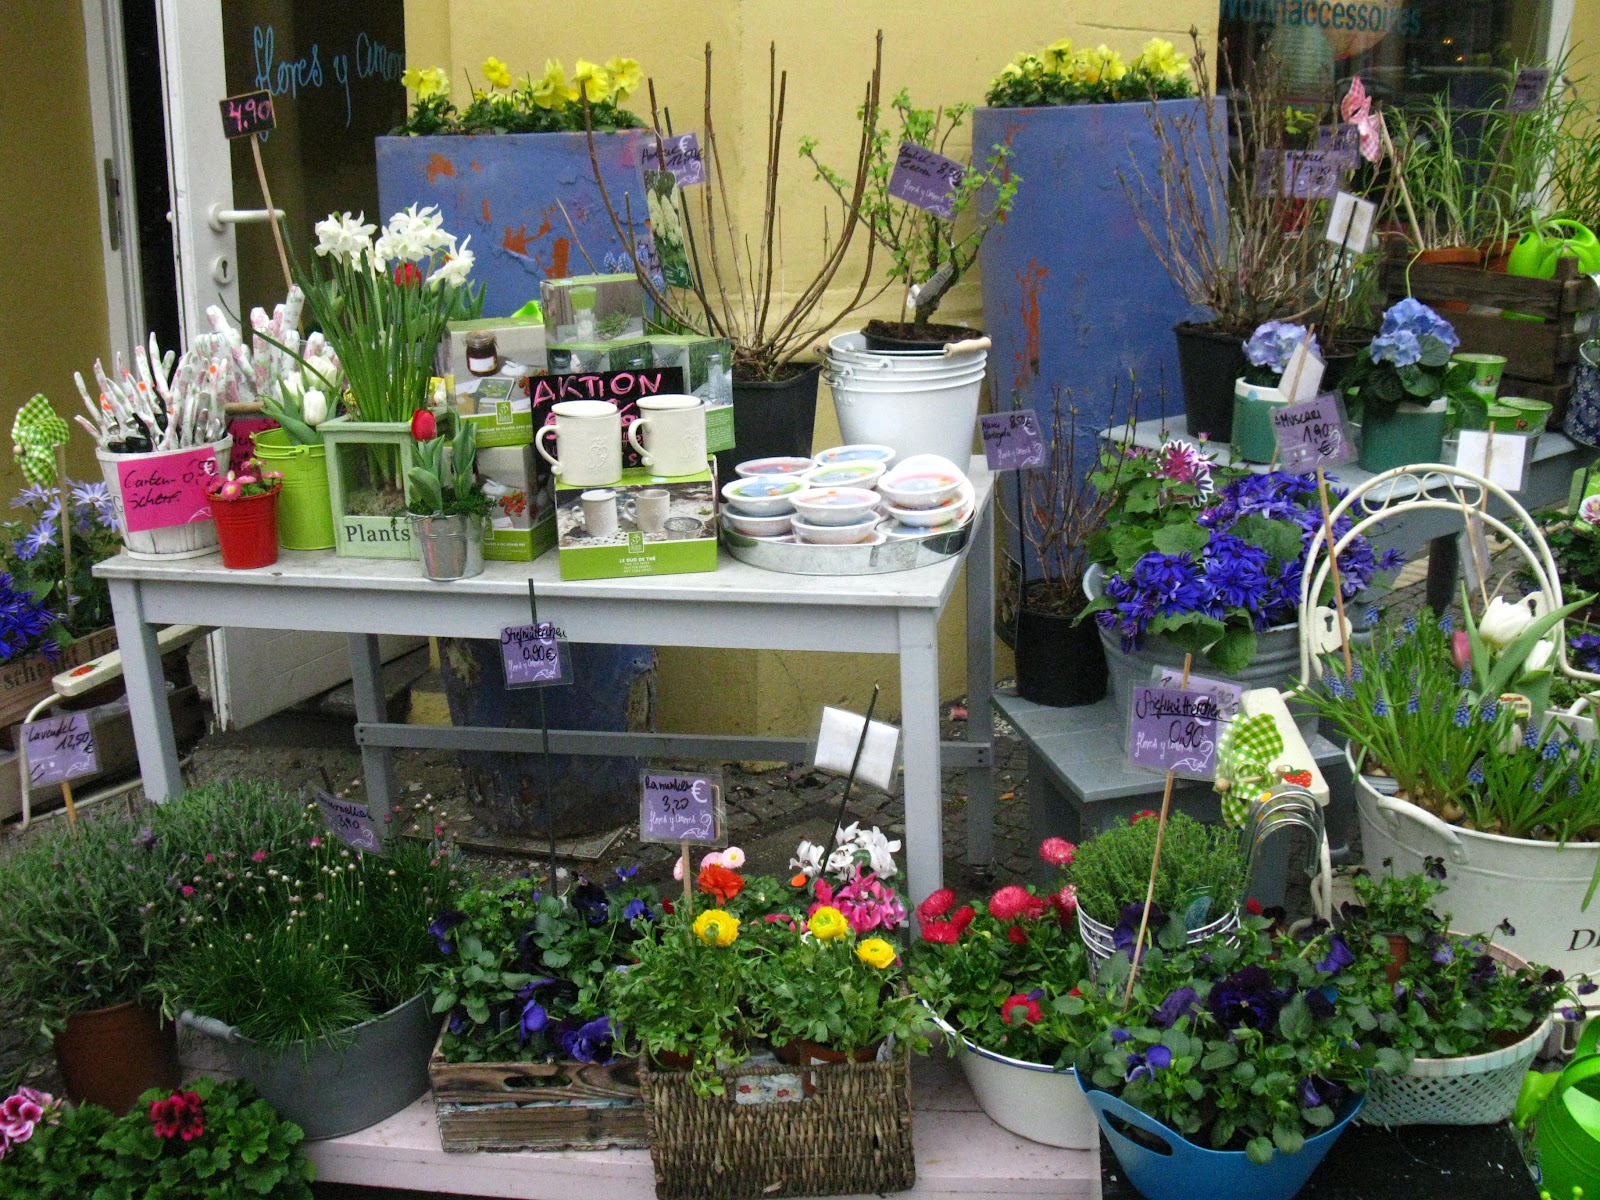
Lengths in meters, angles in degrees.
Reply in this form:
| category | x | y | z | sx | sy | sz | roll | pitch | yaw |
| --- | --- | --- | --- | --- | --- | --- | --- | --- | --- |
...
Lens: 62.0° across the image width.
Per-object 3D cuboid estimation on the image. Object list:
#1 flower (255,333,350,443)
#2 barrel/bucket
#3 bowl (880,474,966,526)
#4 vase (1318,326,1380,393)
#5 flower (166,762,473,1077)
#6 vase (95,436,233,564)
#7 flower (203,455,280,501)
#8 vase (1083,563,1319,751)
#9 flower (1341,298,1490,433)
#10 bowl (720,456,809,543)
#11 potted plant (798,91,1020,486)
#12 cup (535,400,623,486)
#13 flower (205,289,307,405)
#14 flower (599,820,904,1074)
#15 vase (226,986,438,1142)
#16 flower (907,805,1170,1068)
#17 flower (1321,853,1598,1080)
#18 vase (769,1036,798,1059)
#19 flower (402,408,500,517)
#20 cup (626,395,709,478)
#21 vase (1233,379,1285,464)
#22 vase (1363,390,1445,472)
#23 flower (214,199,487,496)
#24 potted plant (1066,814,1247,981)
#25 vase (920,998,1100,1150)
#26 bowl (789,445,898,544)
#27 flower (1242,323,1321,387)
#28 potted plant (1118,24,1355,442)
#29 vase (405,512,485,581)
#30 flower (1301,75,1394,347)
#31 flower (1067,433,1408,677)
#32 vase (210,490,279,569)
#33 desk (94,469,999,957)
| category | x | y | z | sx | sy | sz | roll | pitch | yaw |
| --- | --- | --- | --- | --- | --- | --- | --- | --- | --- |
| flower | -1.179 | -0.501 | 3.156 | 0.239 | 0.295 | 0.253 | -10 | 12 | -26 |
| barrel/bucket | 0.261 | -0.492 | 3.338 | 0.306 | 0.292 | 0.359 | -3 | 8 | -16 |
| bowl | 0.291 | -0.229 | 3.026 | 0.124 | 0.048 | 0.128 | -1 | 25 | 1 |
| vase | 1.722 | -0.755 | 4.206 | 0.214 | 0.188 | 0.244 | 6 | 29 | 15 |
| flower | -1.107 | 0.645 | 2.810 | 0.503 | 0.223 | 0.489 | 24 | 33 | 22 |
| vase | -1.484 | -0.239 | 3.134 | 0.296 | 0.251 | 0.291 | 0 | 8 | 30 |
| flower | -1.270 | -0.273 | 3.038 | 0.115 | 0.087 | 0.122 | -2 | 5 | -14 |
| vase | 0.990 | 0.098 | 3.333 | 0.470 | 0.336 | 0.512 | 0 | 6 | 4 |
| flower | 1.837 | -0.683 | 3.985 | 0.397 | 0.334 | 0.393 | 0 | 3 | 37 |
| bowl | -0.064 | -0.237 | 3.043 | 0.192 | 0.080 | 0.196 | -8 | 30 | 5 |
| potted plant | 0.301 | -0.812 | 3.650 | 0.523 | 0.972 | 0.432 | 1 | 13 | 0 |
| cup | -0.496 | -0.346 | 2.937 | 0.180 | 0.179 | 0.117 | -24 | 39 | -34 |
| flower | -1.359 | -0.572 | 3.253 | 0.184 | 0.204 | 0.157 | 1 | -9 | -21 |
| flower | -0.079 | 0.694 | 2.668 | 0.623 | 0.325 | 0.504 | -3 | 16 | -1 |
| vase | -0.961 | 0.880 | 2.709 | 0.308 | 0.168 | 0.326 | 4 | 15 | 25 |
| flower | 0.414 | 0.726 | 2.692 | 0.434 | 0.234 | 0.460 | 4 | 39 | 17 |
| flower | 1.202 | 0.688 | 2.469 | 0.425 | 0.170 | 0.342 | 3 | 16 | 19 |
| vase | -0.032 | 0.855 | 2.569 | 0.049 | 0.040 | 0.050 | -1 | 5 | -31 |
| flower | -0.808 | -0.305 | 2.968 | 0.205 | 0.246 | 0.181 | 10 | 20 | 39 |
| cup | -0.317 | -0.357 | 2.955 | 0.126 | 0.159 | 0.203 | 12 | 23 | 35 |
| vase | 1.372 | -0.548 | 4.041 | 0.174 | 0.205 | 0.170 | 0 | 14 | -5 |
| vase | 1.775 | -0.502 | 3.940 | 0.213 | 0.223 | 0.214 | 2 | 7 | 15 |
| flower | -1.103 | -0.642 | 3.351 | 0.728 | 0.905 | 0.608 | -3 | 8 | -22 |
| potted plant | 0.756 | 0.671 | 2.752 | 0.401 | 0.436 | 0.444 | 1 | -14 | 8 |
| vase | 0.429 | 0.954 | 2.612 | 0.278 | 0.117 | 0.293 | 5 | 2 | 5 |
| bowl | 0.105 | -0.252 | 3.031 | 0.185 | 0.078 | 0.244 | 17 | 39 | 25 |
| flower | 1.396 | -0.726 | 3.925 | 0.194 | 0.186 | 0.278 | -15 | 20 | -39 |
| potted plant | 1.256 | -1.243 | 4.520 | 0.516 | 1.367 | 0.912 | -14 | 11 | -13 |
| vase | -0.779 | -0.129 | 2.929 | 0.134 | 0.110 | 0.140 | 5 | 10 | 26 |
| flower | 1.763 | -1.223 | 4.430 | 0.263 | 0.975 | 0.212 | -2 | -12 | 42 |
| flower | 1.014 | -0.140 | 3.283 | 0.601 | 0.434 | 0.648 | -12 | 52 | 20 |
| vase | -1.272 | -0.171 | 3.057 | 0.153 | 0.181 | 0.155 | 2 | 16 | 10 |
| desk | -0.542 | 0.665 | 3.746 | 2.008 | 1.335 | 1.190 | 3 | 32 | 8 |
